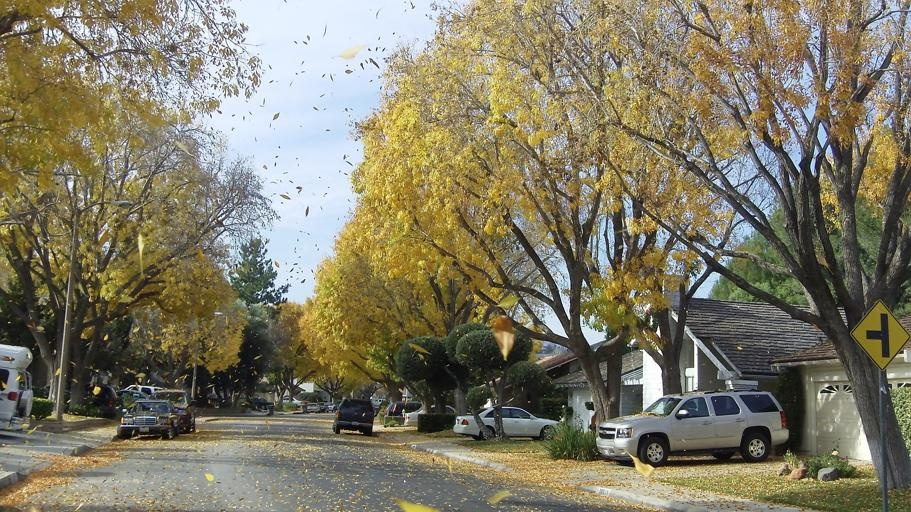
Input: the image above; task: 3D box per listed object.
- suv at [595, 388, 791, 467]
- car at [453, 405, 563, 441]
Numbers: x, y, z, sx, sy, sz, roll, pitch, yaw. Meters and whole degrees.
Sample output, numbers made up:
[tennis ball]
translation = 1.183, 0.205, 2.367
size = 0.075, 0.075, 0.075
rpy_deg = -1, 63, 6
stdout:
[suv]
translation = 9.354, 6.857, 35.327
size = 6.513, 2.615, 3.308
rpy_deg = 4, -13, -12
[car]
translation = 2.896, 9.281, 46.623
size = 5.482, 1.705, 2.219
rpy_deg = 0, -6, -14
